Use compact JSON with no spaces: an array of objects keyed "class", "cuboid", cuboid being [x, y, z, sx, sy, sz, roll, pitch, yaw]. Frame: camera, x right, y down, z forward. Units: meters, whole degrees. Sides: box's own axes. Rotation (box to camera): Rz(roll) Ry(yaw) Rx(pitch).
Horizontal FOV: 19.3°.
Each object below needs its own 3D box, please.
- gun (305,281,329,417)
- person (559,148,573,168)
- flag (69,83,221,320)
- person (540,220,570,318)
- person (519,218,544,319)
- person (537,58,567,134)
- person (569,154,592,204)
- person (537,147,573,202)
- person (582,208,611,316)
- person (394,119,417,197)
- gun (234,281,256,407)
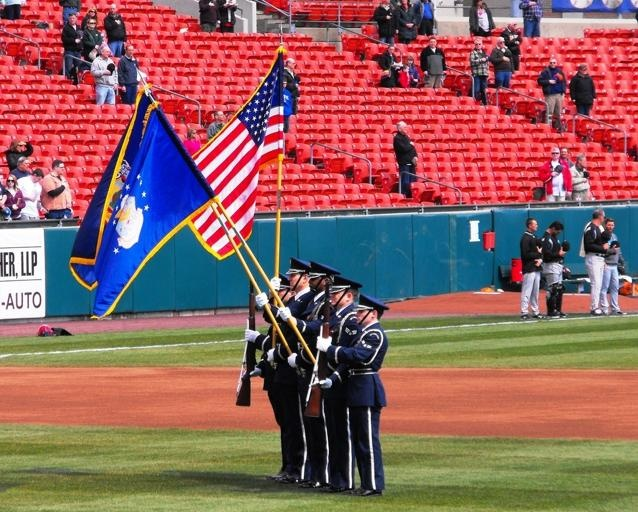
[{"class":"gun","cuboid":[0.028,1.332,27.048,0.342,1.743,0.437,3,14,-4]},{"class":"person","cuboid":[5.902,-2.378,44.890,0.290,0.476,1.038,-1,0,8]},{"class":"flag","cuboid":[-2.731,-0.931,28.102,1.933,3.310,0.835,-1,0,-8]},{"class":"person","cuboid":[4.895,0.275,39.604,0.587,2.058,0.586,8,13,20]},{"class":"person","cuboid":[4.472,0.214,39.680,0.479,2.018,1.552,-1,0,5]},{"class":"person","cuboid":[6.032,-4.168,48.313,0.575,2.083,0.684,-10,22,-28]},{"class":"person","cuboid":[6.334,-1.905,45.448,0.496,1.094,1.824,-1,0,9]},{"class":"person","cuboid":[5.686,-1.899,44.864,0.647,1.203,0.916,-1,0,40]},{"class":"person","cuboid":[5.795,0.093,39.460,0.568,2.136,0.730,-1,0,5]},{"class":"person","cuboid":[1.986,-2.200,43.704,0.390,1.746,0.501,0,2,21]},{"class":"gun","cuboid":[-1.049,1.297,27.903,0.372,1.859,0.349,-2,12,-16]}]
